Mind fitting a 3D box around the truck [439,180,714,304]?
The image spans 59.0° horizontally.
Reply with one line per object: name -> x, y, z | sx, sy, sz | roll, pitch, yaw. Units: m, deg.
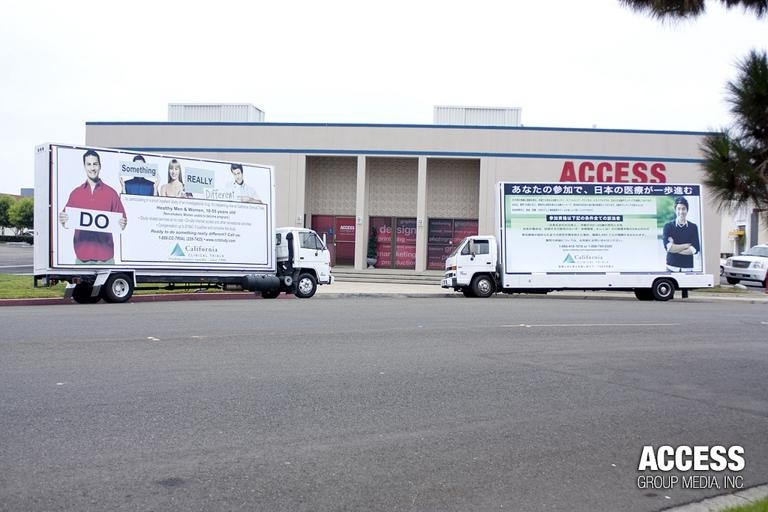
truck -> 7.687, -0.492, 28.053 | 10.847, 5.914, 4.234 | 1, -3, 1
